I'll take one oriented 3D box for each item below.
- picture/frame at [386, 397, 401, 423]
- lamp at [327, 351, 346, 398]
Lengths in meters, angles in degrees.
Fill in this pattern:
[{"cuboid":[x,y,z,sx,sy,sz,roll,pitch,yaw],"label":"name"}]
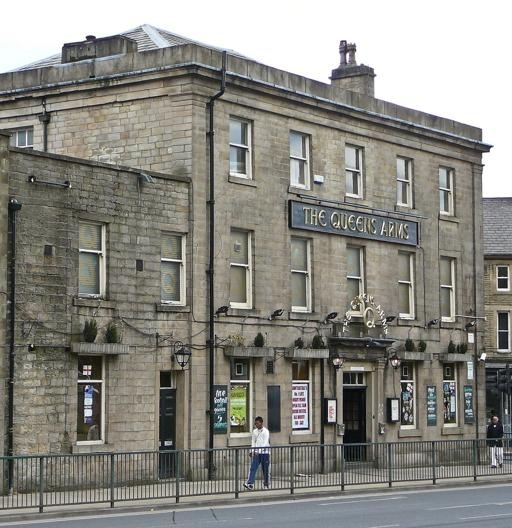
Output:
[{"cuboid":[4.143,4.431,43.447,0.554,1.051,0.194,6,-7,-41],"label":"picture/frame"},{"cuboid":[2.313,3.225,41.613,0.448,1.311,0.973,-2,-13,3],"label":"lamp"}]
